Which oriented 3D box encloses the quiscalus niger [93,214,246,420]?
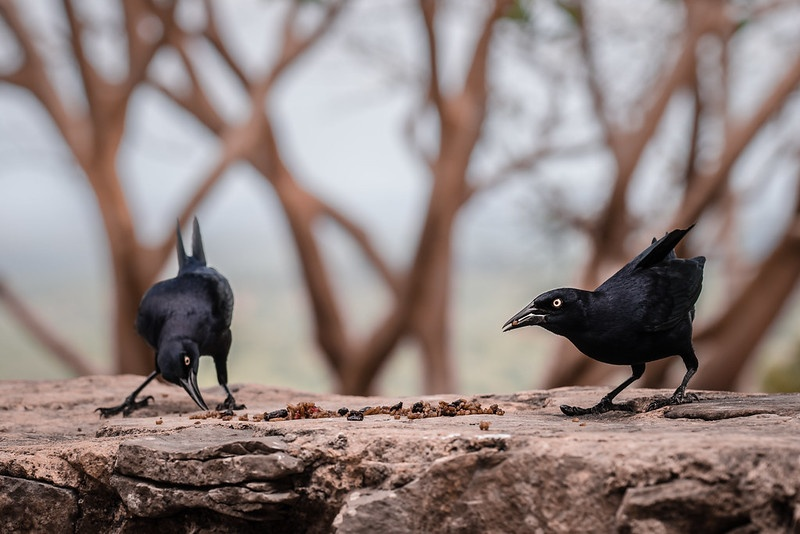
[{"bbox_3d":[-1.940,0.472,11.495,0.813,0.625,1.885,4,32,-5],"label":"quiscalus niger"}]
